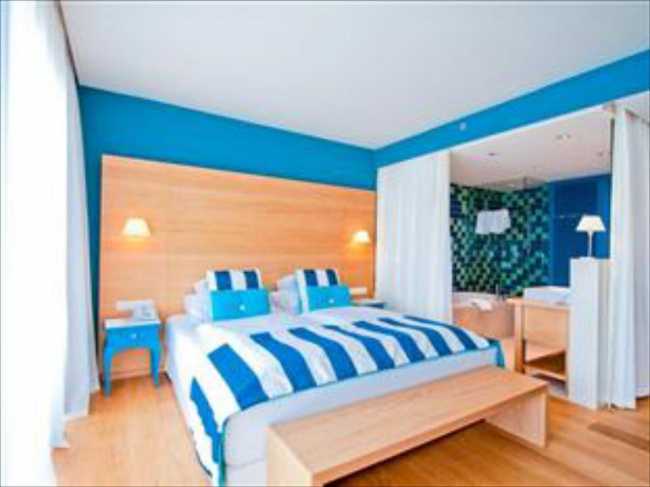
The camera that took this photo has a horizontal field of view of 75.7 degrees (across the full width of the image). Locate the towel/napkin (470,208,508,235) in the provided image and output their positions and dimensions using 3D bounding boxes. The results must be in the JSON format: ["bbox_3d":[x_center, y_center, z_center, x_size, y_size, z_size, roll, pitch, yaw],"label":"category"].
[{"bbox_3d":[2.752,-0.351,6.990,0.119,0.366,0.469,19,-13,-33],"label":"towel/napkin"}]

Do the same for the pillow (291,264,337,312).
[{"bbox_3d":[-0.134,0.542,5.112,0.151,0.462,0.546,-16,-10,41],"label":"pillow"}]

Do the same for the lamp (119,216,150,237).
[{"bbox_3d":[-1.968,-0.165,4.367,0.217,0.171,0.236,-1,0,7],"label":"lamp"}]

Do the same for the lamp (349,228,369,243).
[{"bbox_3d":[0.476,-0.107,5.932,0.212,0.144,0.202,1,-4,-4],"label":"lamp"}]

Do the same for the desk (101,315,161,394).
[{"bbox_3d":[-1.955,1.121,4.267,0.515,0.654,0.356,3,-3,-29],"label":"desk"}]

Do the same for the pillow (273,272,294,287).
[{"bbox_3d":[-0.490,0.448,5.191,0.193,0.096,0.183,0,-3,-31],"label":"pillow"}]

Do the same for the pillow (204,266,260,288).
[{"bbox_3d":[-1.061,0.395,4.790,0.598,0.198,0.384,-3,1,-14],"label":"pillow"}]

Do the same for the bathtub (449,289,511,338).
[{"bbox_3d":[2.147,1.125,6.586,1.068,0.514,1.526,-9,-18,42],"label":"bathtub"}]

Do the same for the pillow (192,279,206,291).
[{"bbox_3d":[-1.395,0.471,4.729,0.150,0.147,0.046,-14,-16,4],"label":"pillow"}]
